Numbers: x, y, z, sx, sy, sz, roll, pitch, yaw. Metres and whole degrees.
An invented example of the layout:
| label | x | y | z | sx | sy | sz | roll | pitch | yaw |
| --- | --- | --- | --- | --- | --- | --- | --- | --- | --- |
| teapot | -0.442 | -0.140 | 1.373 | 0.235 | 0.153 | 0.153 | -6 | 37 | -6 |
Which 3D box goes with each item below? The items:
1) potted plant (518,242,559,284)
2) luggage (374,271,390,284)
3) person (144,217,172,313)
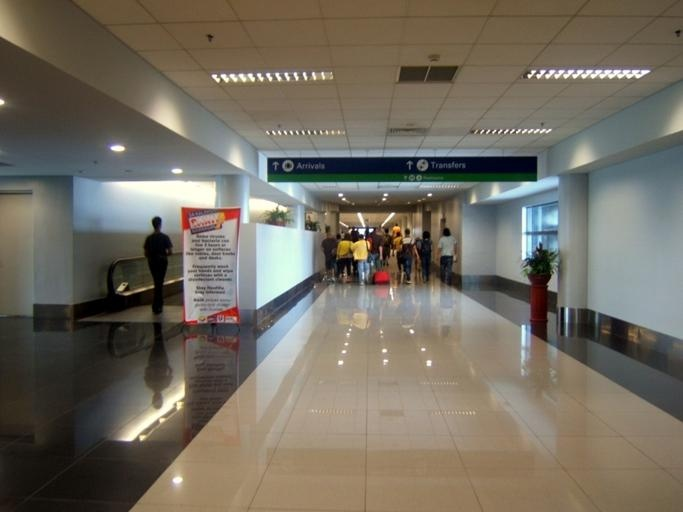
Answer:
| label | x | y | z | sx | sy | sz | roll | pitch | yaw |
| --- | --- | --- | --- | --- | --- | --- | --- | --- | --- |
| potted plant | 3.919 | 0.115 | 8.769 | 0.723 | 0.954 | 0.802 | -1 | 3 | -2 |
| luggage | 1.241 | 0.682 | 14.006 | 0.511 | 0.343 | 0.635 | 1 | 8 | 5 |
| person | -3.863 | 0.168 | 9.340 | 0.536 | 1.989 | 0.984 | -3 | 8 | -23 |
